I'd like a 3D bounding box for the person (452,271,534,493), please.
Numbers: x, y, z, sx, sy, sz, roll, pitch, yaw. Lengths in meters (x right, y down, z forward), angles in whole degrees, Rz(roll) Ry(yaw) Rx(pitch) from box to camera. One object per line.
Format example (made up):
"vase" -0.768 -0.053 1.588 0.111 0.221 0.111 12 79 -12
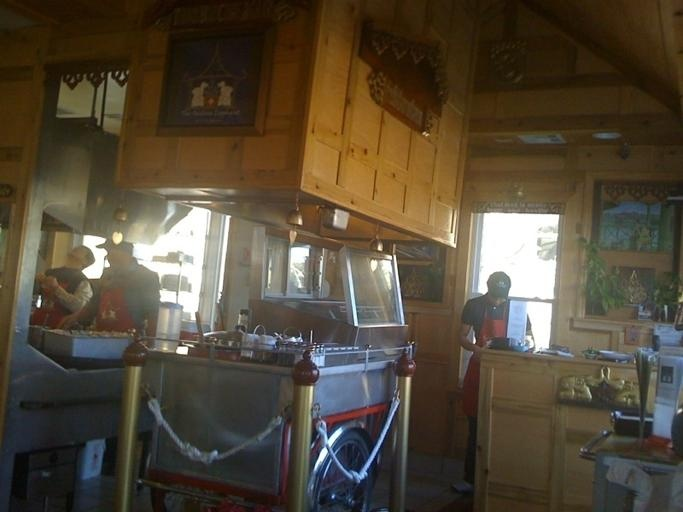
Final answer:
"person" 1.748 1.478 6.534 0.802 2.562 0.690 2 -1 -13

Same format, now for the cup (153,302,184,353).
"cup" -1.339 0.548 4.412 0.188 0.379 0.297 6 -9 -18

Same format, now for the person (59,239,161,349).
"person" -2.594 0.464 6.285 0.929 1.376 0.767 8 29 -28

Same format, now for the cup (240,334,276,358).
"cup" -0.601 0.671 4.169 0.270 0.180 0.321 5 -8 -10

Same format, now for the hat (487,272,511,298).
"hat" 1.806 0.342 6.499 0.212 0.320 0.166 2 -16 11

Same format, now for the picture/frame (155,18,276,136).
"picture/frame" -0.899 -1.332 4.228 0.868 0.829 0.094 0 -2 22

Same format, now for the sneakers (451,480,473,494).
"sneakers" 1.375 2.632 6.414 0.136 0.061 0.161 1 0 7

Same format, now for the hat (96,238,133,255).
"hat" -2.547 -0.115 6.382 0.351 0.118 0.236 10 1 15
